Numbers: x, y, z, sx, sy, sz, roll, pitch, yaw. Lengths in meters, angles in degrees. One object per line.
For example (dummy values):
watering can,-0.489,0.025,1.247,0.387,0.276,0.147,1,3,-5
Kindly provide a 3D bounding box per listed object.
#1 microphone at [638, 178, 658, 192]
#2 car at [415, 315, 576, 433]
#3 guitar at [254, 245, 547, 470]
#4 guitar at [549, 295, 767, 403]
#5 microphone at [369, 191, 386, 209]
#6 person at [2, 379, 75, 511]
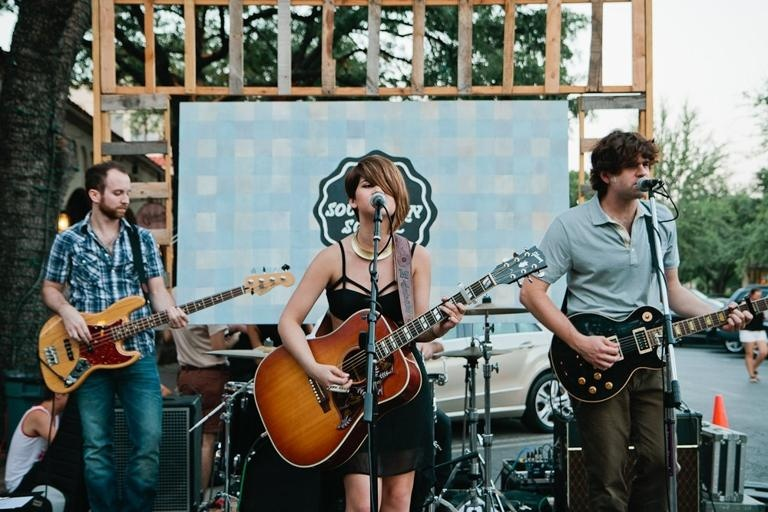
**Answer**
microphone,2.788,-0.743,11.146,0.216,0.105,0.216,-10,-7,36
car,1.663,1.606,15.019,2.249,1.269,1.362,3,-15,-13
guitar,0.049,1.029,11.392,3.577,1.585,0.505,-32,-3,1
guitar,3.417,1.172,13.081,1.601,0.660,0.185,-21,-6,-4
microphone,-0.068,-0.570,10.670,0.100,0.181,0.166,0,5,0
person,-3.935,2.136,12.154,0.787,1.350,0.302,10,-10,-26
